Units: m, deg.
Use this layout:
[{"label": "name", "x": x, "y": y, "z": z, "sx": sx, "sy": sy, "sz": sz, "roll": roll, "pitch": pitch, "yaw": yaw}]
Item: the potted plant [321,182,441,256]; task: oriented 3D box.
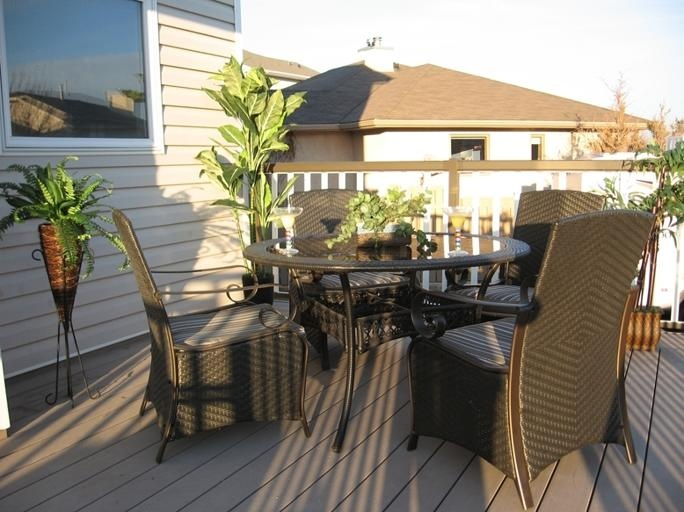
[{"label": "potted plant", "x": 0.244, "y": -0.190, "z": 3.021, "sx": 0.549, "sy": 0.256, "sz": 0.480, "roll": 0, "pitch": 12, "yaw": 0}]

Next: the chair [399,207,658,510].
[{"label": "chair", "x": 1.095, "y": 0.252, "z": 2.851, "sx": 1.218, "sy": 1.810, "sz": 1.282, "roll": -8, "pitch": 15, "yaw": -31}]

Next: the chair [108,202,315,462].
[{"label": "chair", "x": -0.745, "y": 0.249, "z": 3.319, "sx": 1.367, "sy": 1.752, "sz": 1.090, "roll": -6, "pitch": 16, "yaw": -23}]

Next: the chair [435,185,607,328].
[{"label": "chair", "x": 1.149, "y": -0.159, "z": 3.740, "sx": 0.978, "sy": 1.263, "sz": 0.764, "roll": 10, "pitch": 9, "yaw": -27}]
